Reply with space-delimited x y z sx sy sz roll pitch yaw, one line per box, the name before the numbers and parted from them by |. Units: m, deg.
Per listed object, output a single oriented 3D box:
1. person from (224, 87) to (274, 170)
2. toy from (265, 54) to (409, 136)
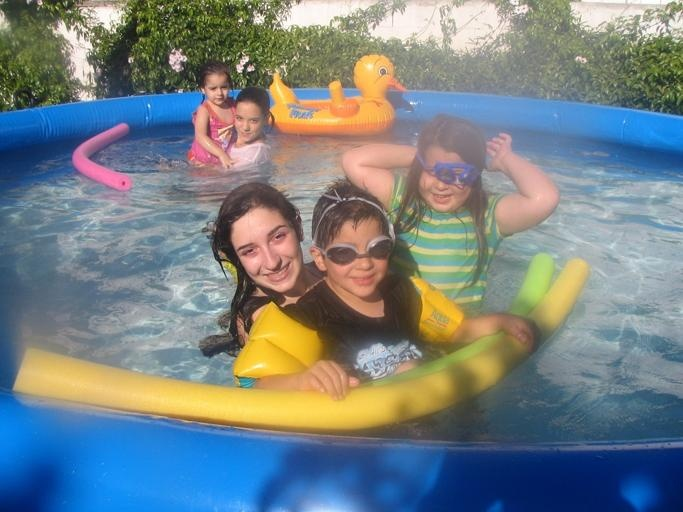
person | -1.050 -1.485 6.066 0.490 0.829 0.674 -3 24 -10
toy | -0.059 -2.202 7.720 1.795 0.982 1.302 -2 26 -8
